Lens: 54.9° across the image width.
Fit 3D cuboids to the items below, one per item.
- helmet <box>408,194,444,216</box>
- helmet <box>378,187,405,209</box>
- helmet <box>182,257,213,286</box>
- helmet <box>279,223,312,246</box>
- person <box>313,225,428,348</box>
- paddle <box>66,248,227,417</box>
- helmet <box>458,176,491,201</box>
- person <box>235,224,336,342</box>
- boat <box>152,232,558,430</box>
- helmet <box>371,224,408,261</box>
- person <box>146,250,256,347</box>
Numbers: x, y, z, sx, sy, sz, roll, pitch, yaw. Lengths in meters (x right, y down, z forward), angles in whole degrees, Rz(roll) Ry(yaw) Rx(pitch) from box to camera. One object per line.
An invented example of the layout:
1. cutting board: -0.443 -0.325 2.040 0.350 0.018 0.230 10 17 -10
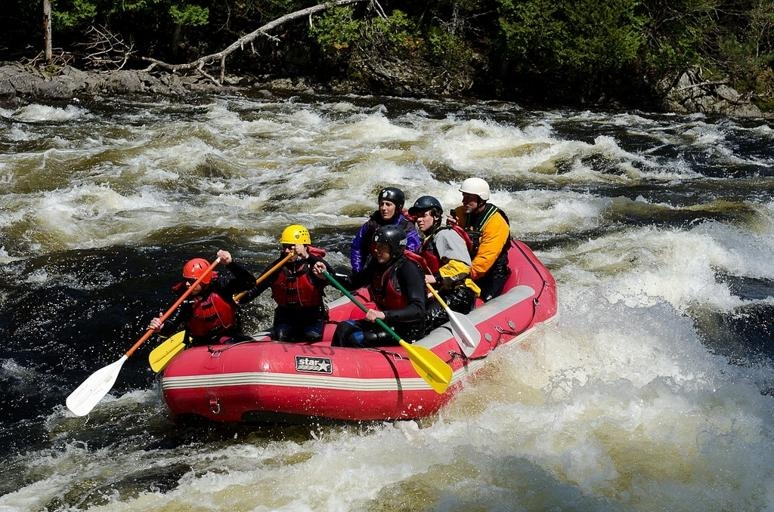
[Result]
1. helmet: 0.561 -0.765 10.620 0.387 0.281 0.191 13 59 -29
2. helmet: 0.048 -0.858 10.703 0.264 0.260 0.346 0 -6 44
3. helmet: -2.399 0.192 9.578 0.282 0.301 0.407 15 85 8
4. helmet: -1.175 -0.290 9.628 0.387 0.259 0.298 -7 13 -24
5. person: -0.192 0.446 9.823 1.172 1.844 1.053 10 11 -33
6. paddle: -3.248 1.103 9.991 3.191 0.162 0.346 -43 102 -19
7. helmet: 1.249 -0.963 10.697 0.400 0.340 0.360 10 42 5
8. person: -1.370 0.664 9.657 1.253 0.978 2.009 0 85 -6
9. boat: -0.162 0.863 9.502 3.786 0.860 2.156 -16 18 -42
10. helmet: 0.009 -0.176 9.305 0.458 0.355 0.433 6 85 -27
11. person: -2.511 0.612 9.995 1.027 0.604 1.774 -9 83 -9
